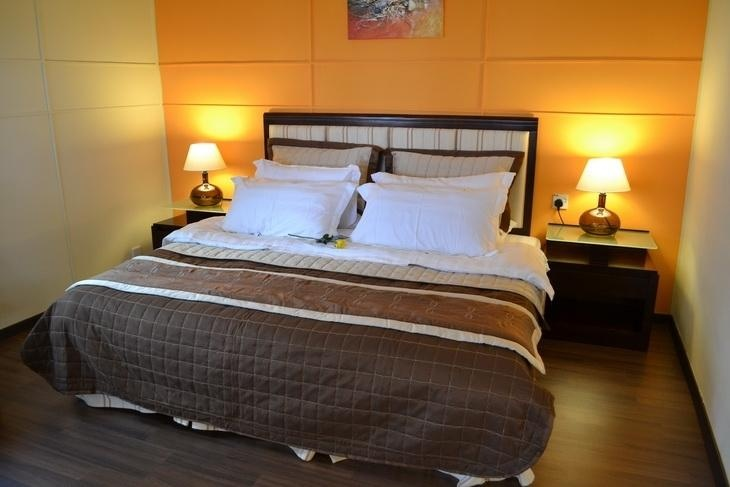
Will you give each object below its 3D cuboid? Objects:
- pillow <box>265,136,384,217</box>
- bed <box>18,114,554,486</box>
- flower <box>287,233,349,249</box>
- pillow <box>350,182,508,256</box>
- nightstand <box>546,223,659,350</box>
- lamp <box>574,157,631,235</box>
[{"bbox_3d":[-0.317,-0.555,4.482,0.966,0.527,0.164,6,-25,13],"label":"pillow"},{"bbox_3d":[-0.324,0.538,3.915,3.351,1.036,2.033,6,18,15],"label":"bed"},{"bbox_3d":[-0.362,-0.028,4.082,0.409,0.107,0.162,8,11,-3],"label":"flower"},{"bbox_3d":[0.482,-0.209,4.133,1.266,0.475,0.339,6,-2,18],"label":"pillow"},{"bbox_3d":[1.938,0.377,4.257,1.079,0.825,0.691,2,22,13],"label":"nightstand"},{"bbox_3d":[2.002,-0.389,4.339,0.356,0.635,0.292,-8,22,-26],"label":"lamp"}]
